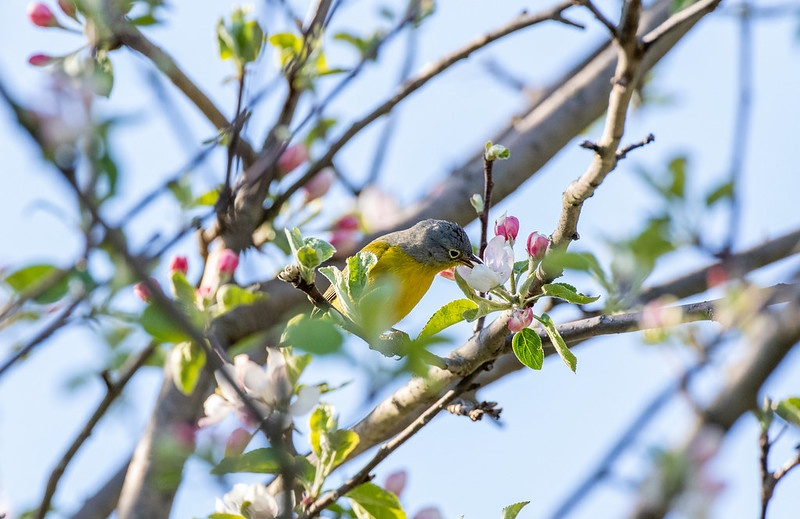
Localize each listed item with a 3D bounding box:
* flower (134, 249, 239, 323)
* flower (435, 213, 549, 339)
[{"bbox_3d":[-1.042,0.149,4.748,0.372,0.338,0.179,-12,-96,-16],"label":"flower"},{"bbox_3d":[0.529,0.070,5.142,0.500,0.557,0.427,-1,-52,-5],"label":"flower"}]
